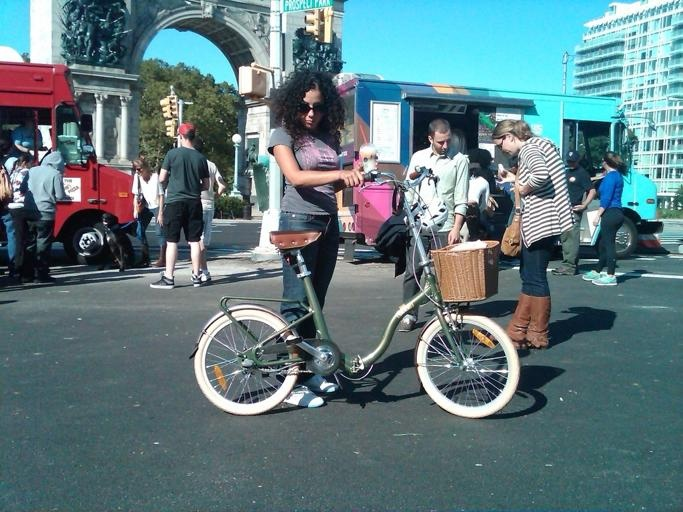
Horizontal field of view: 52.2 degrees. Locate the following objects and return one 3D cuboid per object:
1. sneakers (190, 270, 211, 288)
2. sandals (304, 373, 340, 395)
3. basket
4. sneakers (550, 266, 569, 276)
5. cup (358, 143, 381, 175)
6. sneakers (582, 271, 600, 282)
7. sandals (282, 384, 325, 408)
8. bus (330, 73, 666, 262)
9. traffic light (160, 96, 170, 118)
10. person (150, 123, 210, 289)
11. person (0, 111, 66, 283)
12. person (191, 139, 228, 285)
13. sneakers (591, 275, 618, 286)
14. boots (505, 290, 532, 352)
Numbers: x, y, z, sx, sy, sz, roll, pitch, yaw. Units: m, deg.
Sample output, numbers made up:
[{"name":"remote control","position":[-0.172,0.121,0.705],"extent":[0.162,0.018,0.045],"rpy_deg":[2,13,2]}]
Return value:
[{"name":"sneakers","position":[-2.165,0.352,10.691],"extent":[0.126,0.170,0.399],"rpy_deg":[3,7,5]},{"name":"sandals","position":[-0.194,1.048,5.647],"extent":[0.329,0.162,0.137],"rpy_deg":[-1,1,28]},{"name":"basket","position":[0.965,0.135,5.258],"extent":[0.436,0.388,0.404],"rpy_deg":[-3,-1,36]},{"name":"sneakers","position":[3.903,0.274,12.422],"extent":[0.245,0.118,0.153],"rpy_deg":[4,2,7]},{"name":"cup","position":[0.188,-0.673,4.830],"extent":[0.115,0.201,0.232],"rpy_deg":[0,9,-1]},{"name":"sneakers","position":[4.164,0.351,11.698],"extent":[0.148,0.142,0.306],"rpy_deg":[0,0,-6]},{"name":"sandals","position":[-0.290,1.102,5.444],"extent":[0.238,0.110,0.160],"rpy_deg":[0,1,16]},{"name":"bus","position":[2.957,-1.618,15.436],"extent":[5.826,3.485,4.281],"rpy_deg":[-2,4,-15]},{"name":"traffic light","position":[-7.125,-6.084,28.382],"extent":[0.331,0.867,1.781],"rpy_deg":[-2,9,-14]},{"name":"person","position":[-2.383,-0.775,10.308],"extent":[0.781,2.472,0.714],"rpy_deg":[-4,19,-23]},{"name":"person","position":[-4.631,-0.565,10.603],"extent":[0.919,2.010,0.511],"rpy_deg":[2,9,9]},{"name":"person","position":[-2.316,-0.775,11.365],"extent":[0.704,2.391,0.657],"rpy_deg":[2,1,-40]},{"name":"sneakers","position":[4.218,0.400,11.188],"extent":[0.388,0.208,0.163],"rpy_deg":[1,8,21]},{"name":"boots","position":[1.880,0.698,7.160],"extent":[0.426,0.555,0.227],"rpy_deg":[-4,8,14]}]
